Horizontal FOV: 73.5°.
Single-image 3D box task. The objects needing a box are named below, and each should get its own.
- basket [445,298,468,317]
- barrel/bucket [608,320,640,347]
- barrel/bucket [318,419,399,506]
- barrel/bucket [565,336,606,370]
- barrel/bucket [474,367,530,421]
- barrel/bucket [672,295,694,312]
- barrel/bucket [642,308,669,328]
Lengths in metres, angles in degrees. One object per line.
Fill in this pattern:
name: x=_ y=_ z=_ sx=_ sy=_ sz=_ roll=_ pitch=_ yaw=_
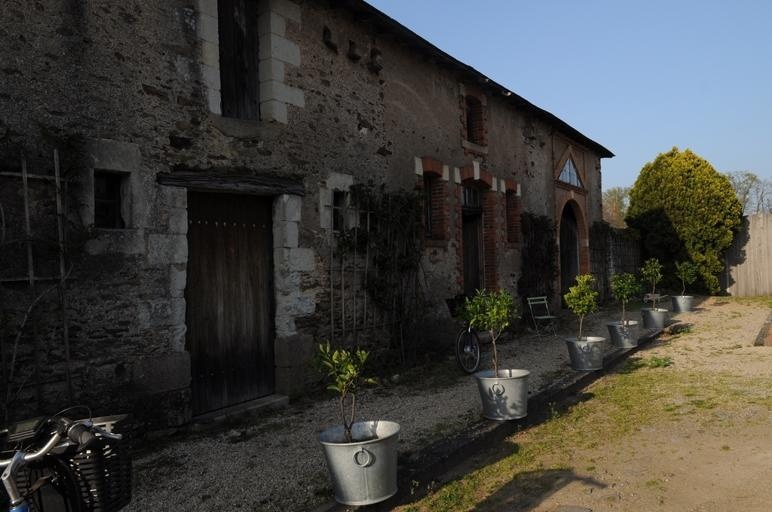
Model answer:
basket: x=1.347 y=0.948 z=9.822 sx=0.366 sy=0.395 sz=0.451 roll=-2 pitch=-3 yaw=12
barrel/bucket: x=4.708 y=1.519 z=10.112 sx=0.520 sy=0.411 sz=0.508 roll=-11 pitch=-11 yaw=-2
barrel/bucket: x=-0.256 y=1.943 z=5.047 sx=0.675 sy=0.553 sz=0.718 roll=-4 pitch=4 yaw=0
barrel/bucket: x=3.319 y=1.607 z=8.577 sx=0.504 sy=0.370 sz=0.538 roll=-3 pitch=0 yaw=0
barrel/bucket: x=1.511 y=1.780 z=6.699 sx=0.699 sy=0.543 sz=0.740 roll=-4 pitch=-1 yaw=0
barrel/bucket: x=8.262 y=1.364 z=14.365 sx=0.496 sy=0.402 sz=0.485 roll=0 pitch=-4 yaw=0
barrel/bucket: x=6.147 y=1.479 z=11.883 sx=0.520 sy=0.382 sz=0.538 roll=0 pitch=-1 yaw=0
